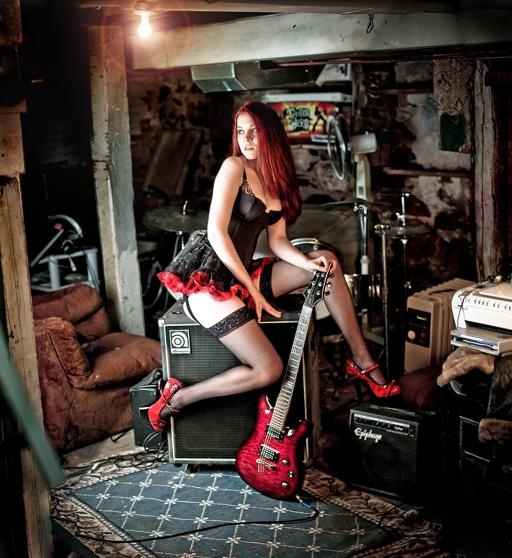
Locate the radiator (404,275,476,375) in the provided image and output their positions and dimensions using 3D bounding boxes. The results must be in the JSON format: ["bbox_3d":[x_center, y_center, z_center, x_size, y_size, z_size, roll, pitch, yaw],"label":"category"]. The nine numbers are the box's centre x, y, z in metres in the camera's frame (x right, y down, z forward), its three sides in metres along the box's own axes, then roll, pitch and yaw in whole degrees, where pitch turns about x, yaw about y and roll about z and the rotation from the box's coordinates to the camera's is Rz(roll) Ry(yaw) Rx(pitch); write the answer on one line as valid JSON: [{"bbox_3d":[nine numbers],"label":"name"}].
[{"bbox_3d":[1.177,0.298,3.490,0.525,0.531,0.326,0,15,0],"label":"radiator"}]

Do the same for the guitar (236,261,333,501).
[{"bbox_3d":[0.106,0.495,2.618,0.518,1.016,0.509,12,21,15],"label":"guitar"}]

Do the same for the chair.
[{"bbox_3d":[-1.191,0.574,3.737,1.150,0.908,0.988,-8,20,-43],"label":"chair"}]

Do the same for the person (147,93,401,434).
[{"bbox_3d":[0.036,-0.091,2.733,0.883,1.886,1.029,10,18,41],"label":"person"}]

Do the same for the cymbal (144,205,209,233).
[{"bbox_3d":[-0.618,-0.556,4.747,0.755,0.270,0.599,-1,14,-1],"label":"cymbal"}]

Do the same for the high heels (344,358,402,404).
[{"bbox_3d":[0.600,0.531,2.739,0.248,0.206,0.225,0,16,-15],"label":"high heels"}]

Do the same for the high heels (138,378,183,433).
[{"bbox_3d":[-0.524,0.686,2.811,0.154,0.364,0.126,12,26,-35],"label":"high heels"}]

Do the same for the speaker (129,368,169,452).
[{"bbox_3d":[-0.670,0.804,3.204,0.353,0.459,0.345,-3,19,-15],"label":"speaker"}]
